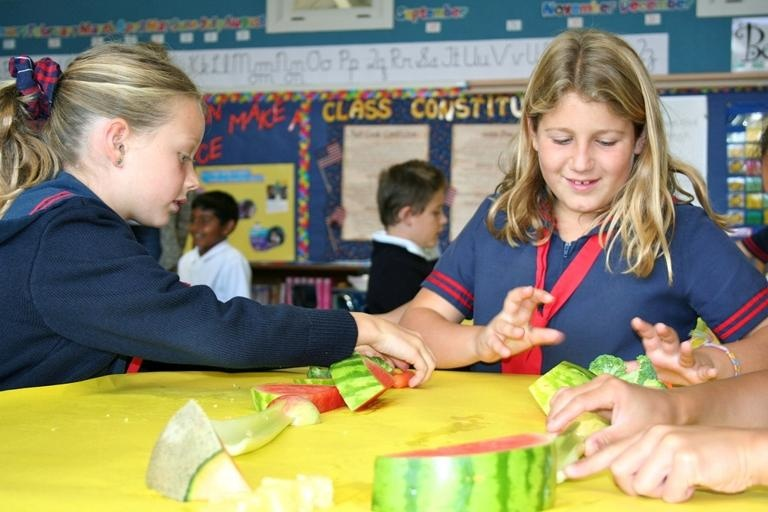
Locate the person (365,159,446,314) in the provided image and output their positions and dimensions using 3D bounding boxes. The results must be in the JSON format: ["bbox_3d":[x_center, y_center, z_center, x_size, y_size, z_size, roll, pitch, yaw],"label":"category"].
[{"bbox_3d":[0.139,-0.089,4.131,0.454,0.788,0.926,1,9,15],"label":"person"}]
